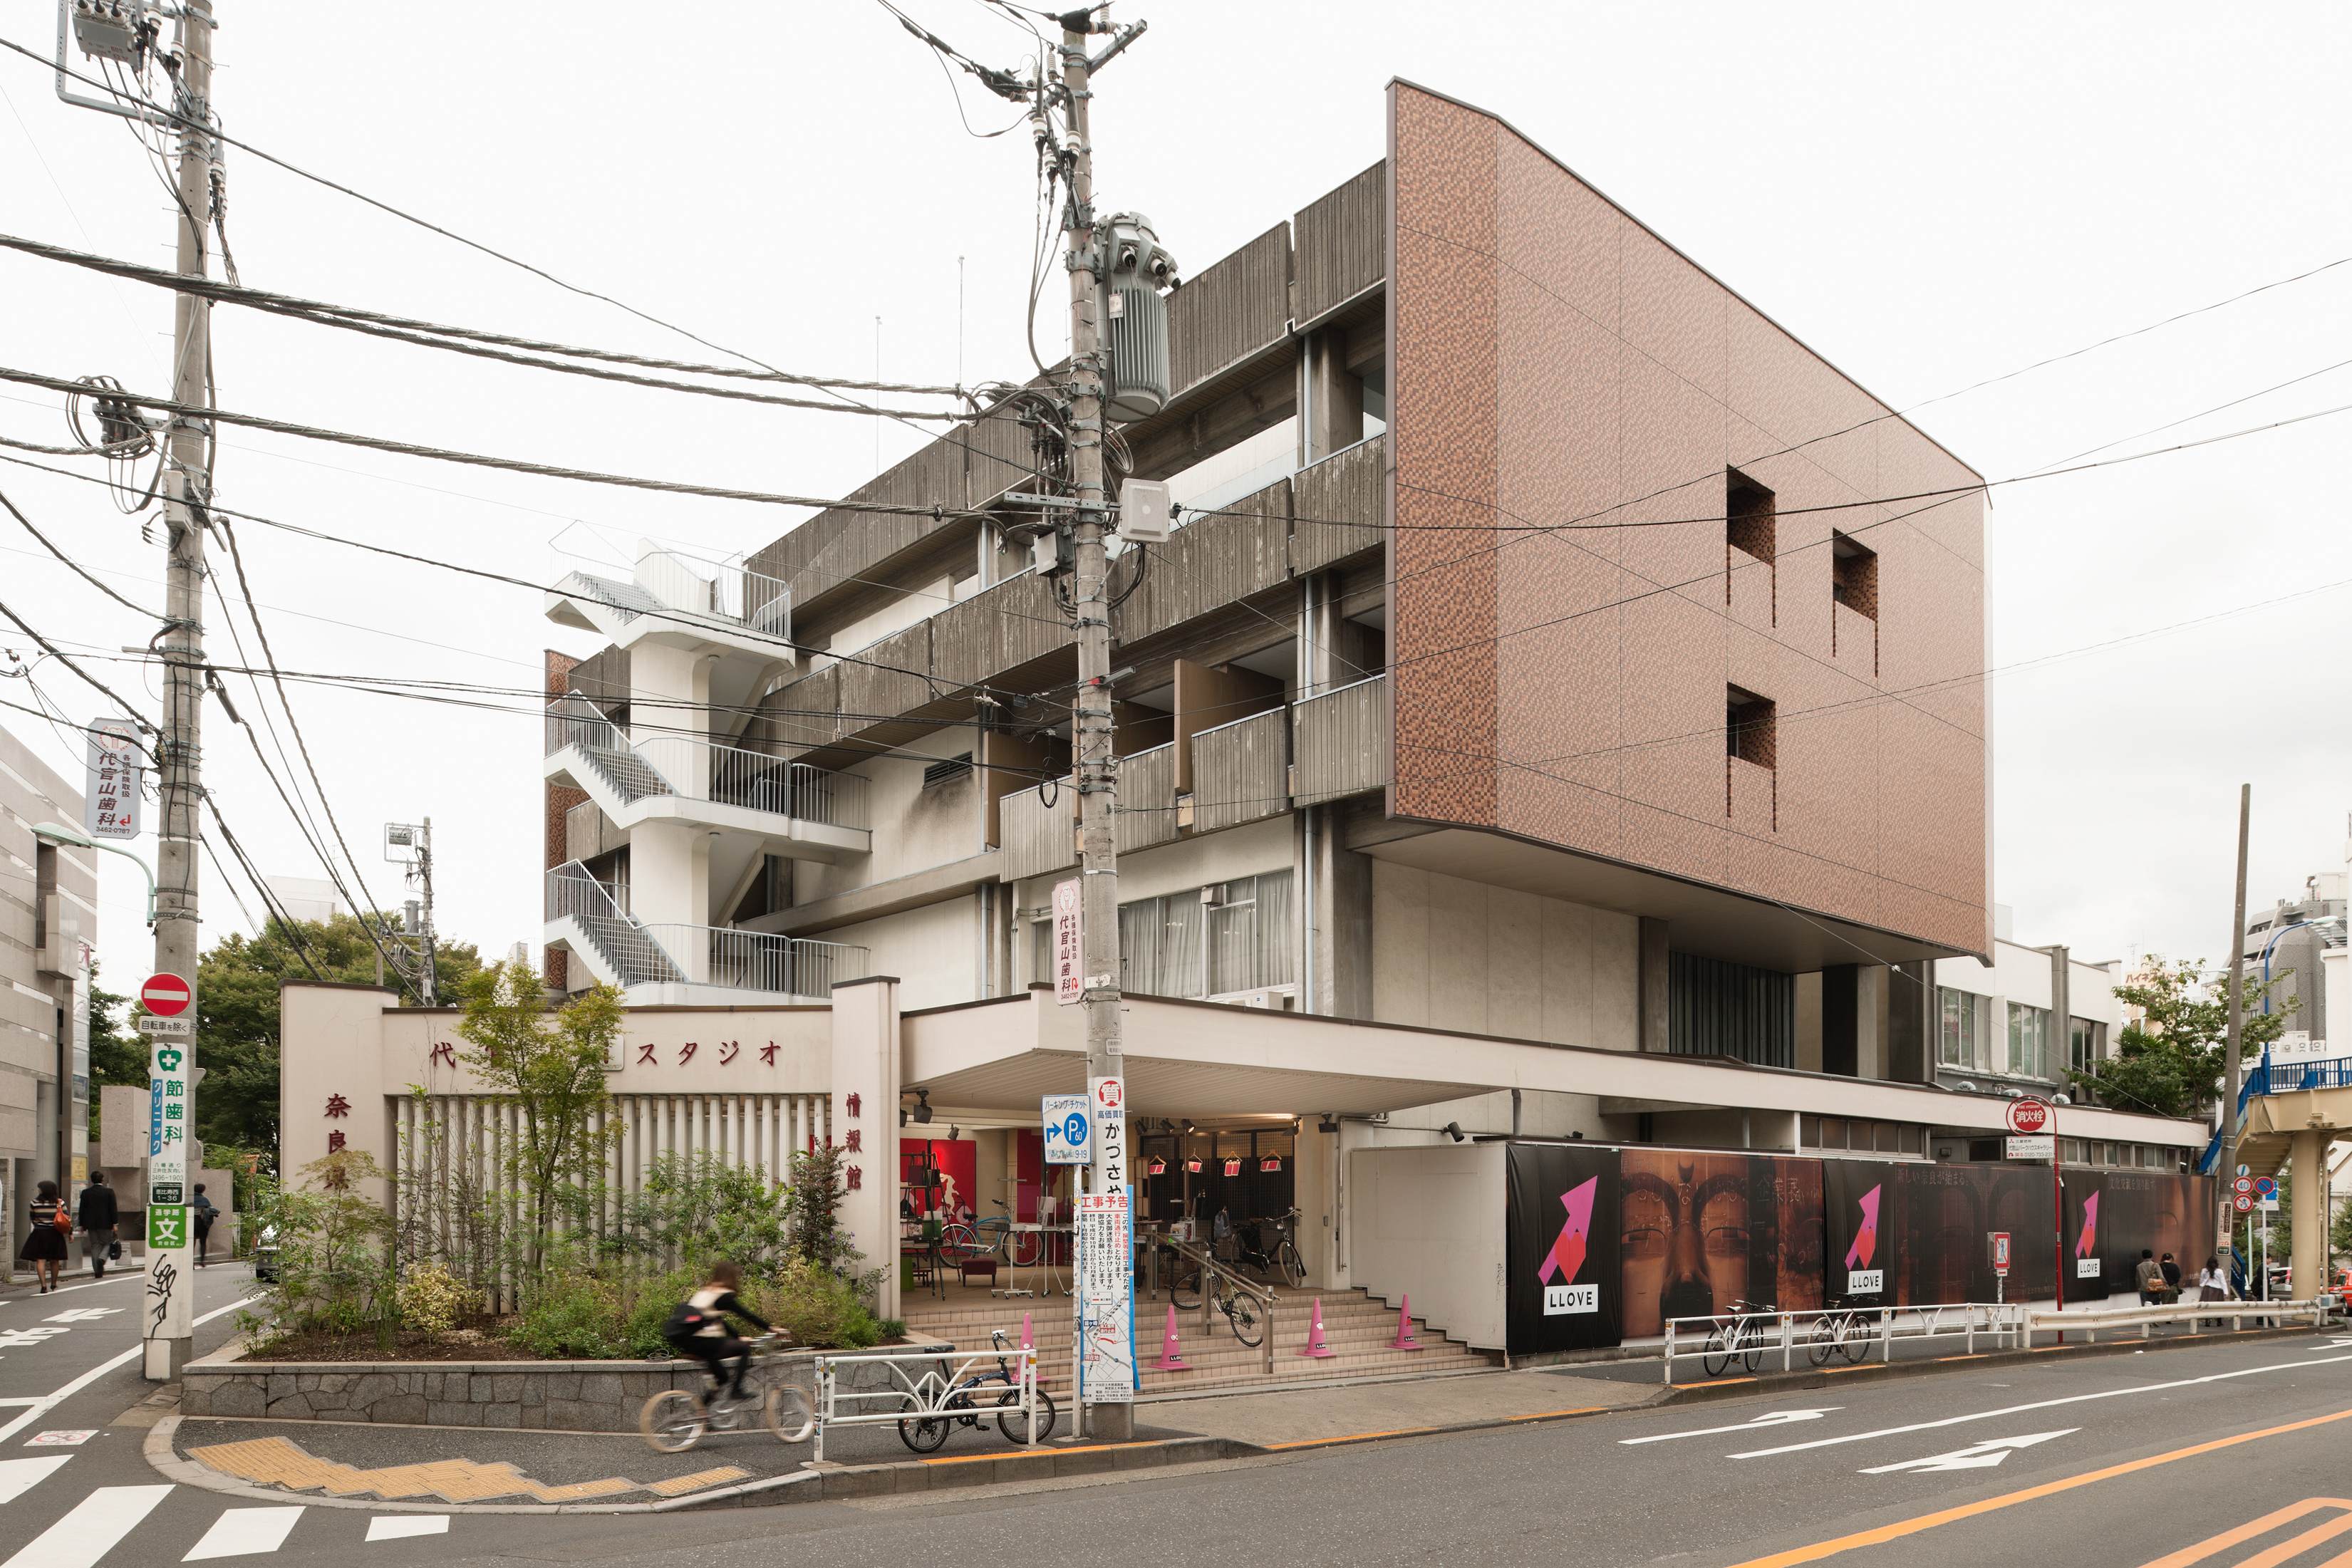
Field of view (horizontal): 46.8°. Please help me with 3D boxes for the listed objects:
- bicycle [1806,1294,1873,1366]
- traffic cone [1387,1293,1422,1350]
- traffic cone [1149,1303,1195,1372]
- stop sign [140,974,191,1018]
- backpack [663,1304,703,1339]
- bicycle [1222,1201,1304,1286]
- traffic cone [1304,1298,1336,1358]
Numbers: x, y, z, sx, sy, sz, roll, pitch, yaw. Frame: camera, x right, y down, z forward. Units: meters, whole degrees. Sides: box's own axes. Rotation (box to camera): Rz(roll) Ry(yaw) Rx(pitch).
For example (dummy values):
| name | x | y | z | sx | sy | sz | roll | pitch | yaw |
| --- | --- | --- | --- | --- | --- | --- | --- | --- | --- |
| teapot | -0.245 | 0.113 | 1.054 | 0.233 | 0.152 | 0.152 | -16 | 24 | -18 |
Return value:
| name | x | y | z | sx | sy | sz | roll | pitch | yaw |
| --- | --- | --- | --- | --- | --- | --- | --- | --- | --- |
| bicycle | 12.403 | 10.307 | 50.737 | 1.150 | 1.203 | 3.438 | -3 | -15 | 13 |
| traffic cone | 4.198 | 10.054 | 50.082 | 0.606 | 0.829 | 0.631 | -4 | -13 | 20 |
| traffic cone | -0.246 | 9.691 | 46.814 | 0.897 | 1.240 | 0.900 | 1 | -12 | -12 |
| stop sign | -16.491 | 3.480 | 44.476 | 0.875 | 0.754 | 0.449 | 13 | -19 | -40 |
| backpack | -7.387 | 8.072 | 40.864 | 0.654 | 0.517 | 0.227 | -9 | -17 | 30 |
| bicycle | 1.719 | 9.105 | 53.590 | 0.961 | 1.149 | 1.848 | 8 | -10 | -34 |
| traffic cone | 2.594 | 9.910 | 48.769 | 0.636 | 0.846 | 0.622 | 6 | -12 | -43 |
